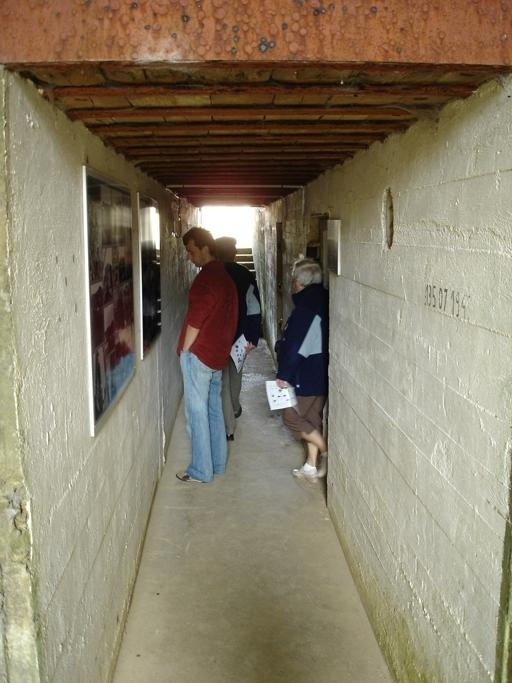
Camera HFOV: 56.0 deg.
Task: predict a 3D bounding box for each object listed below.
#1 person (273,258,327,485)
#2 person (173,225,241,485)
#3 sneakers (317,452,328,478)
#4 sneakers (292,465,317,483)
[{"bbox_3d":[0.369,0.141,3.857,0.411,1.581,0.304,1,7,9],"label":"person"},{"bbox_3d":[-0.425,0.127,3.972,0.425,2.101,0.616,2,7,16],"label":"person"},{"bbox_3d":[0.574,1.066,4.172,0.065,0.098,0.223,-27,4,38],"label":"sneakers"},{"bbox_3d":[0.417,1.115,4.133,0.199,0.126,0.088,17,2,25],"label":"sneakers"}]
